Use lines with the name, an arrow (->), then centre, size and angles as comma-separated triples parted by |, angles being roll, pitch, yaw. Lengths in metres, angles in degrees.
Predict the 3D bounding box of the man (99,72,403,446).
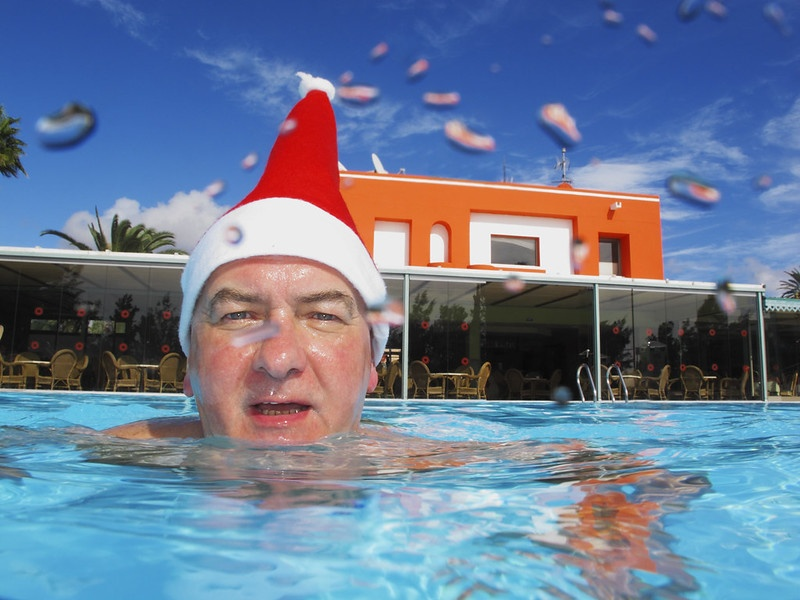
man -> -0.478, -0.164, 2.722 | 0.867, 1.436, 0.947 | 2, 0, -41

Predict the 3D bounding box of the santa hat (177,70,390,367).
santa hat -> -0.487, -0.540, 2.982 | 0.811, 1.199, 0.833 | 3, -2, 18
